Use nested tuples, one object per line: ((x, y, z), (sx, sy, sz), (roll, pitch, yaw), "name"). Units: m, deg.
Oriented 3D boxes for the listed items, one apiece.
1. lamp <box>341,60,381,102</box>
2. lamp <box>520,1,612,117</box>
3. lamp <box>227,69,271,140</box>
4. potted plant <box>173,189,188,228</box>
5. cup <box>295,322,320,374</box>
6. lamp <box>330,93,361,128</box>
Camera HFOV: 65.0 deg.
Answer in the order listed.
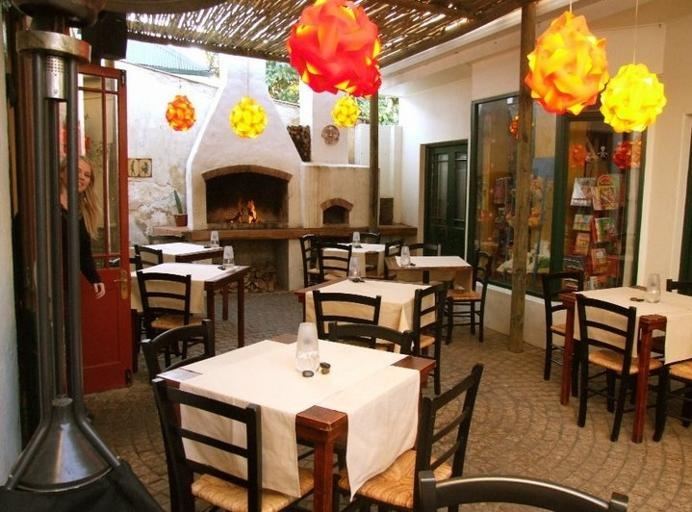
((0.085, -1.038, 3.113), (0.254, 0.159, 0.208), (-5, 8, 10), "lamp")
((1.340, -1.185, 3.271), (0.418, 0.614, 0.371), (-1, 11, -8), "lamp")
((-1.413, -2.224, 7.832), (0.499, 1.137, 0.499), (5, -10, -42), "lamp")
((-3.068, -0.900, 10.062), (0.238, 0.629, 0.925), (-3, 11, -17), "potted plant")
((-0.220, 0.530, 3.165), (0.137, 0.338, 0.149), (1, 11, 0), "cup")
((-0.103, -2.202, 8.114), (0.481, 0.552, 0.624), (4, 27, 5), "lamp")
